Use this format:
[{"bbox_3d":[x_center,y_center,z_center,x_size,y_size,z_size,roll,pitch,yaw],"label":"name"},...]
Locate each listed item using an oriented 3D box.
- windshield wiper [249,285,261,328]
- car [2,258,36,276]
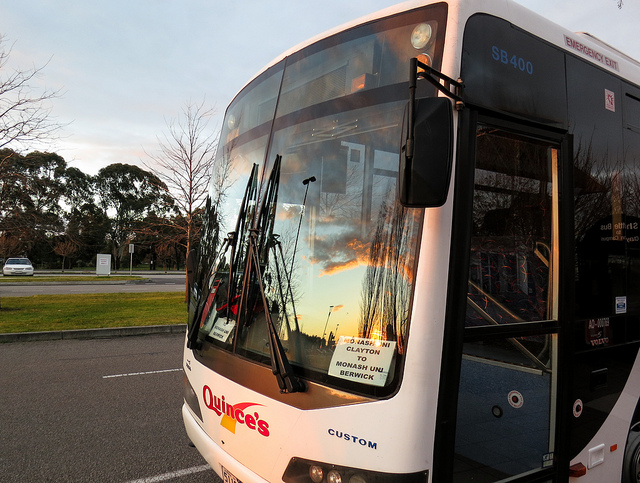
[{"bbox_3d":[-0.444,0.434,2.764,0.028,0.305,0.022,17,8,30],"label":"windshield wiper"},{"bbox_3d":[-24.756,2.120,33.304,2.137,1.468,1.941,3,-1,-26],"label":"car"}]
